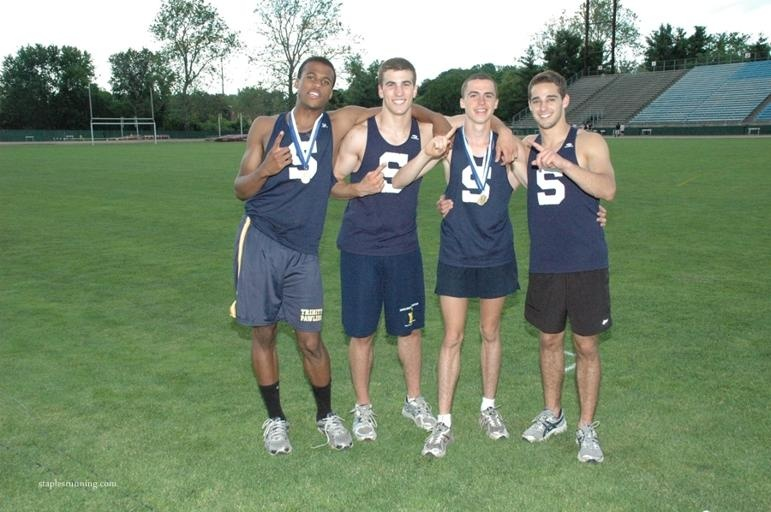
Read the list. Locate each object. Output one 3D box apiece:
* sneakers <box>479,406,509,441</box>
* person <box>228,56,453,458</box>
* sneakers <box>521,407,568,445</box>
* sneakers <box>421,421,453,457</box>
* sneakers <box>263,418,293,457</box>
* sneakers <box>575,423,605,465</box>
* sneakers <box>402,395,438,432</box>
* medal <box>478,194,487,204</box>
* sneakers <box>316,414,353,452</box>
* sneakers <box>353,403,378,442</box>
[{"bbox_3d":[1.000,1.533,5.380,0.199,0.186,0.515,-6,9,-6],"label":"sneakers"},{"bbox_3d":[-0.849,-0.071,5.297,1.227,3.402,1.196,-11,19,-30],"label":"person"},{"bbox_3d":[1.453,1.560,5.325,0.525,0.214,0.177,-7,9,-34],"label":"sneakers"},{"bbox_3d":[0.451,1.634,5.108,0.194,0.176,0.319,4,17,20],"label":"sneakers"},{"bbox_3d":[-0.984,1.582,5.179,0.230,0.210,0.538,2,6,-10],"label":"sneakers"},{"bbox_3d":[1.774,1.646,4.986,0.163,0.170,0.364,0,8,3],"label":"sneakers"},{"bbox_3d":[0.340,1.497,5.576,0.214,0.224,0.517,-7,14,-26],"label":"sneakers"},{"bbox_3d":[0.878,-0.524,5.235,0.071,0.089,0.027,11,4,-2],"label":"medal"},{"bbox_3d":[-0.472,1.591,5.206,0.177,0.150,0.384,-7,11,-31],"label":"sneakers"},{"bbox_3d":[-0.211,1.540,5.447,0.228,0.207,0.534,0,12,-6],"label":"sneakers"}]
